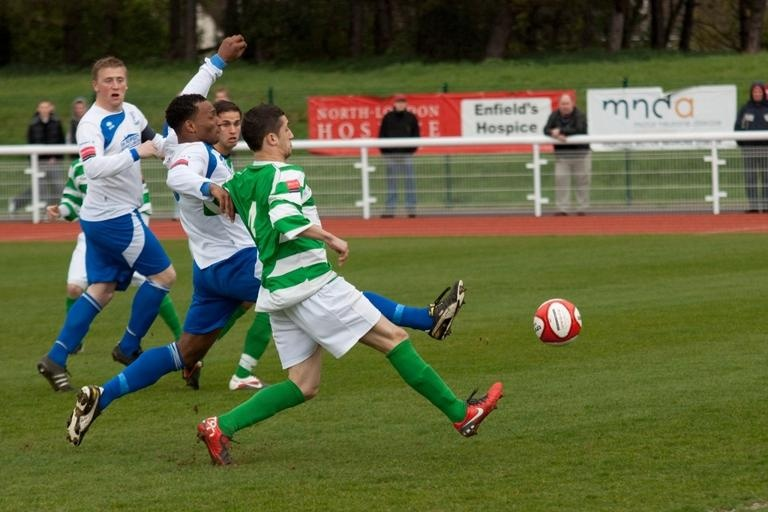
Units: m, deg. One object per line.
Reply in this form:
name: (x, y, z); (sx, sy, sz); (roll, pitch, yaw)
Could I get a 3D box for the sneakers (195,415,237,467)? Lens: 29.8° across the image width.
sneakers: (-1.934, 2.094, 16.490); (0.308, 0.670, 0.247); (-33, 16, -3)

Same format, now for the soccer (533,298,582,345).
soccer: (2.132, 0.820, 18.088); (0.600, 0.526, 0.565); (0, -3, -2)

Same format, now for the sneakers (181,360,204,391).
sneakers: (-2.356, 1.487, 17.905); (0.172, 0.439, 0.193); (-16, 53, -36)

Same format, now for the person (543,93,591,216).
person: (3.227, -1.768, 25.183); (0.774, 2.099, 0.412); (-1, 15, 7)

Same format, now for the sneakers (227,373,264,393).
sneakers: (-1.708, 1.575, 17.835); (0.492, 0.185, 0.167); (0, 1, -5)
